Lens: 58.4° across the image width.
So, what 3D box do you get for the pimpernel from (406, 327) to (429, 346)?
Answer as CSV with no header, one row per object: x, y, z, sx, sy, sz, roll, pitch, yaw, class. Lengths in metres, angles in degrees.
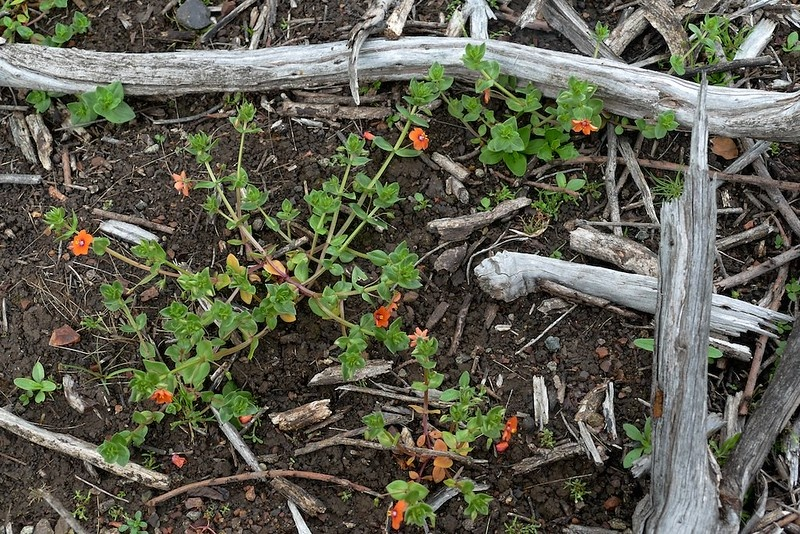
0.121,0.454,4.822,0.046,0.124,0.128,-14,52,-47,pimpernel

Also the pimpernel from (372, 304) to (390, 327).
-0.120,0.309,4.770,0.123,0.128,0.065,-33,25,3,pimpernel

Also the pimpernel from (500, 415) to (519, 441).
0.731,1.071,4.778,0.101,0.178,0.047,20,19,0,pimpernel

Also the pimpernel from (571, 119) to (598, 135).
1.290,-0.994,5.007,0.125,0.134,0.050,0,47,19,pimpernel
